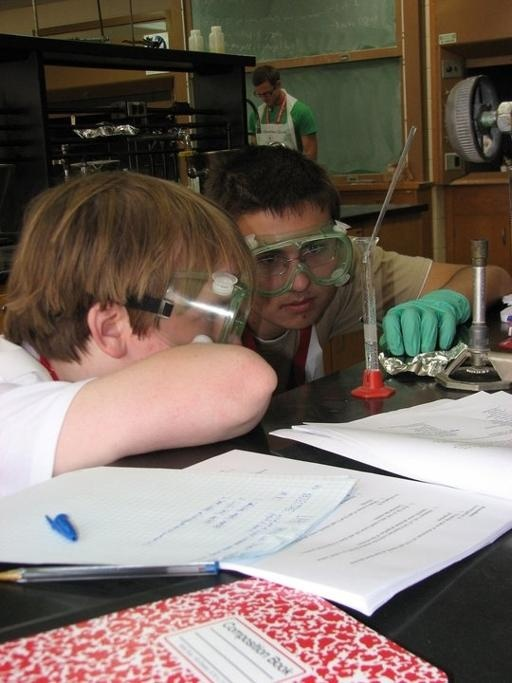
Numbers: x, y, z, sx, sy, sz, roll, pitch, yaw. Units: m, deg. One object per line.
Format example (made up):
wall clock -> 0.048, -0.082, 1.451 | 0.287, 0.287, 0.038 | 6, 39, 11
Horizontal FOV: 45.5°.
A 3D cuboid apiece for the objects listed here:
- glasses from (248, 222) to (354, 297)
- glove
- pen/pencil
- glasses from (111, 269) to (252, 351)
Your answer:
glasses -> 0.088, -0.188, 1.231 | 0.167, 0.085, 0.200 | -16, 25, -20
glove -> 0.304, -0.035, 1.104 | 0.111, 0.064, 0.177 | -12, 12, 30
pen/pencil -> -0.094, 0.158, 0.417 | 0.168, 0.016, 0.018 | -1, -14, 2
glasses -> -0.095, -0.042, 0.765 | 0.133, 0.063, 0.098 | 4, 8, 9
